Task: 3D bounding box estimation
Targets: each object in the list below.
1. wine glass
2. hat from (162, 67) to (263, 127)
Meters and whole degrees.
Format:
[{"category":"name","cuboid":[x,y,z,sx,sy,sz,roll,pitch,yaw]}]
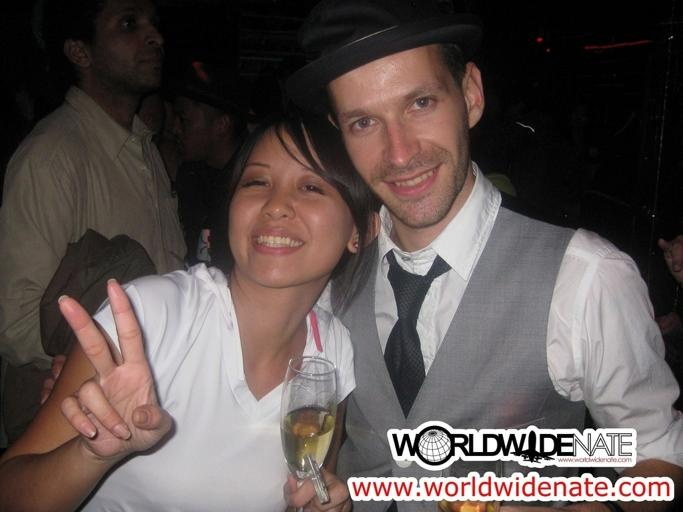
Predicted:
[{"category":"wine glass","cuboid":[-0.144,0.827,2.743,0.265,0.607,0.249,-3,10,-3]},{"category":"hat","cuboid":[-1.151,-1.609,5.348,0.831,0.346,0.629,22,25,6]}]
